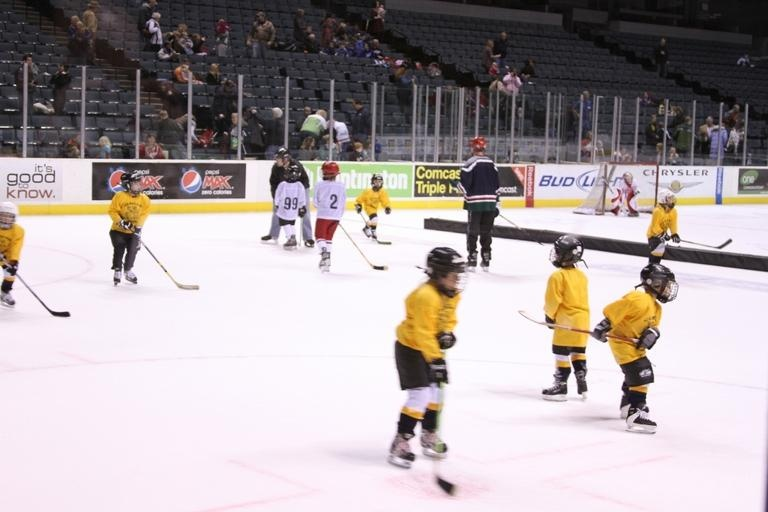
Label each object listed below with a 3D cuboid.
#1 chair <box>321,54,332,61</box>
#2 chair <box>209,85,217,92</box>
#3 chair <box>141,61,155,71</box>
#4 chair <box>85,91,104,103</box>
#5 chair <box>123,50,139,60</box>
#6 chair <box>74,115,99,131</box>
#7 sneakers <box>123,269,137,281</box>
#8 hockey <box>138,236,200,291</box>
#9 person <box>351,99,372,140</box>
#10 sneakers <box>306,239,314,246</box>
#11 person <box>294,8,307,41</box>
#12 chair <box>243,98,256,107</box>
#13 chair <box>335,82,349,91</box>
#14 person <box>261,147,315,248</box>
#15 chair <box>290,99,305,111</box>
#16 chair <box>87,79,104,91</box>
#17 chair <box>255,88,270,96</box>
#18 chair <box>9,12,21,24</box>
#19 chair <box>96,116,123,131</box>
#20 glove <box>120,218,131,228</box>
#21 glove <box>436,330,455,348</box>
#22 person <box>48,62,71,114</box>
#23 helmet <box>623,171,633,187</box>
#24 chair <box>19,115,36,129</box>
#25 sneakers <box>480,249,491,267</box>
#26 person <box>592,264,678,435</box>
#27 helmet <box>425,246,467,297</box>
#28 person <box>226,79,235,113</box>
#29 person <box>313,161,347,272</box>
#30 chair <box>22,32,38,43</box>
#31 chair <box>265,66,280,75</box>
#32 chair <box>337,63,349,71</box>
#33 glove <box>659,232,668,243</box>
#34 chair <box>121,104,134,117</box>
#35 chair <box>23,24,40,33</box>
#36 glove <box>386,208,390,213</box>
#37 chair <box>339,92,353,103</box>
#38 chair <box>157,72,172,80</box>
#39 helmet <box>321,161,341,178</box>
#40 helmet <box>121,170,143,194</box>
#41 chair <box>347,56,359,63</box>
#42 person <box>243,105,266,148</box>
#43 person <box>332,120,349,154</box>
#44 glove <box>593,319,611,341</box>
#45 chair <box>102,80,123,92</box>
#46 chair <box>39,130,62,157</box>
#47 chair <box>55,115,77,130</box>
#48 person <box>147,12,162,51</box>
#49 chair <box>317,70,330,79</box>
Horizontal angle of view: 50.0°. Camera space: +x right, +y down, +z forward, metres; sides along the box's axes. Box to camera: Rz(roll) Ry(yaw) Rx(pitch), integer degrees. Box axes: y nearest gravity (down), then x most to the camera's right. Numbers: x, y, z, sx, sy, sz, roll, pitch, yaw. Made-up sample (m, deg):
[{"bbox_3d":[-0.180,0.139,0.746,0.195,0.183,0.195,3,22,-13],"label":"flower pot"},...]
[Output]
[{"bbox_3d":[-1.593,-5.482,22.744,0.251,0.284,0.253,-7,12,-36],"label":"chair"},{"bbox_3d":[-3.732,-3.651,17.931,0.206,0.177,0.151,1,17,-6],"label":"chair"},{"bbox_3d":[-5.670,-4.583,19.757,0.333,0.209,0.467,-3,13,-18],"label":"chair"},{"bbox_3d":[-6.034,-3.303,17.082,0.392,0.253,0.193,1,14,-11],"label":"chair"},{"bbox_3d":[-6.132,-4.893,19.990,0.243,0.246,0.305,1,-7,-22],"label":"chair"},{"bbox_3d":[-6.191,-2.759,17.035,0.570,0.319,0.364,-3,14,-20],"label":"chair"},{"bbox_3d":[-3.274,0.243,10.573,0.091,0.103,0.255,-18,22,-41],"label":"sneakers"},{"bbox_3d":[-3.061,0.113,11.660,1.133,0.140,0.148,37,-10,-19],"label":"hockey"},{"bbox_3d":[-0.593,-3.189,19.456,0.476,0.982,0.489,5,14,13],"label":"person"},{"bbox_3d":[-1.266,-0.222,14.004,0.153,0.103,0.202,0,13,-6],"label":"sneakers"},{"bbox_3d":[-2.320,-6.338,22.598,0.310,0.851,0.437,0,13,-7],"label":"person"},{"bbox_3d":[-3.039,-3.451,18.441,0.154,0.247,0.289,-2,1,42],"label":"chair"},{"bbox_3d":[-1.015,-4.087,19.914,0.278,0.181,0.268,-1,7,-11],"label":"chair"},{"bbox_3d":[-1.562,-0.986,14.159,1.057,1.886,0.635,2,-31,-13],"label":"person"},{"bbox_3d":[-2.044,-3.558,19.300,0.325,0.295,0.292,2,16,-3],"label":"chair"},{"bbox_3d":[-6.009,-3.562,17.052,0.262,0.220,0.236,-3,24,-23],"label":"chair"},{"bbox_3d":[-2.791,-3.774,18.896,0.369,0.232,0.191,1,-5,-19],"label":"chair"},{"bbox_3d":[-8.980,-5.783,19.925,0.272,0.226,0.321,1,13,-5],"label":"chair"},{"bbox_3d":[-5.831,-2.810,17.339,0.400,0.336,0.369,0,3,-32],"label":"chair"},{"bbox_3d":[-3.236,-0.406,10.275,0.126,0.127,0.029,-6,15,-30],"label":"glove"},{"bbox_3d":[0.438,0.585,5.797,0.128,0.110,0.095,-10,13,15],"label":"glove"},{"bbox_3d":[-6.487,-3.351,16.489,0.378,0.963,0.287,-2,14,-17],"label":"person"},{"bbox_3d":[6.030,-1.918,20.434,0.258,0.318,0.280,-7,15,-32],"label":"helmet"},{"bbox_3d":[-7.024,-2.662,16.219,0.317,0.279,0.169,-4,14,-23],"label":"chair"},{"bbox_3d":[1.492,0.028,12.093,0.102,0.284,0.208,-1,-6,0],"label":"sneakers"},{"bbox_3d":[1.954,0.682,6.487,0.578,1.220,0.611,6,14,19],"label":"person"},{"bbox_3d":[0.450,0.099,5.822,0.354,0.313,0.268,9,15,20],"label":"helmet"},{"bbox_3d":[-3.326,-3.475,17.894,0.098,0.686,0.242,12,17,35],"label":"person"},{"bbox_3d":[-0.784,-0.566,11.725,0.426,1.532,0.747,0,13,-5],"label":"person"},{"bbox_3d":[-8.367,-5.123,19.377,0.269,0.337,0.286,-5,15,-40],"label":"chair"},{"bbox_3d":[-2.903,-4.779,21.228,0.327,0.370,0.287,-5,32,-16],"label":"chair"},{"bbox_3d":[-1.146,-5.150,22.545,0.264,0.295,0.235,-3,27,-9],"label":"chair"},{"bbox_3d":[3.929,-0.274,11.496,0.059,0.122,0.228,13,17,39],"label":"glove"},{"bbox_3d":[-5.436,-3.093,17.379,0.289,0.258,0.149,3,19,1],"label":"chair"},{"bbox_3d":[-8.449,-5.422,19.637,0.332,0.246,0.587,-4,14,-22],"label":"chair"},{"bbox_3d":[0.069,-0.802,14.538,0.076,0.085,0.089,-1,-9,6],"label":"glove"},{"bbox_3d":[-0.931,-3.796,19.689,0.241,0.295,0.255,-3,5,-36],"label":"chair"},{"bbox_3d":[-5.095,-4.196,19.078,0.373,0.152,0.239,1,13,-3],"label":"chair"},{"bbox_3d":[-0.760,-1.219,11.630,0.216,0.215,0.307,0,13,-7],"label":"helmet"},{"bbox_3d":[-3.183,-0.938,10.380,0.258,0.278,0.357,-3,14,-18],"label":"helmet"},{"bbox_3d":[-0.855,-5.487,23.097,0.258,0.326,0.247,-4,19,-19],"label":"chair"},{"bbox_3d":[-2.889,-2.799,18.232,0.474,0.933,0.231,0,14,-7],"label":"person"},{"bbox_3d":[-0.987,-2.799,19.276,0.435,0.700,0.271,-1,14,-10],"label":"person"},{"bbox_3d":[1.720,0.570,6.481,0.084,0.167,0.170,35,11,-6],"label":"glove"},{"bbox_3d":[-5.740,-3.585,17.315,0.253,0.166,0.256,-2,8,-35],"label":"chair"},{"bbox_3d":[-6.724,-2.247,16.570,0.538,0.626,0.515,-1,3,-37],"label":"chair"},{"bbox_3d":[-6.483,-2.735,16.707,0.387,0.244,0.283,-3,12,-44],"label":"chair"},{"bbox_3d":[-5.682,-5.551,20.311,0.411,0.908,0.484,-1,14,-11],"label":"person"},{"bbox_3d":[-1.591,-4.795,21.629,0.283,0.319,0.240,2,26,0],"label":"chair"}]
